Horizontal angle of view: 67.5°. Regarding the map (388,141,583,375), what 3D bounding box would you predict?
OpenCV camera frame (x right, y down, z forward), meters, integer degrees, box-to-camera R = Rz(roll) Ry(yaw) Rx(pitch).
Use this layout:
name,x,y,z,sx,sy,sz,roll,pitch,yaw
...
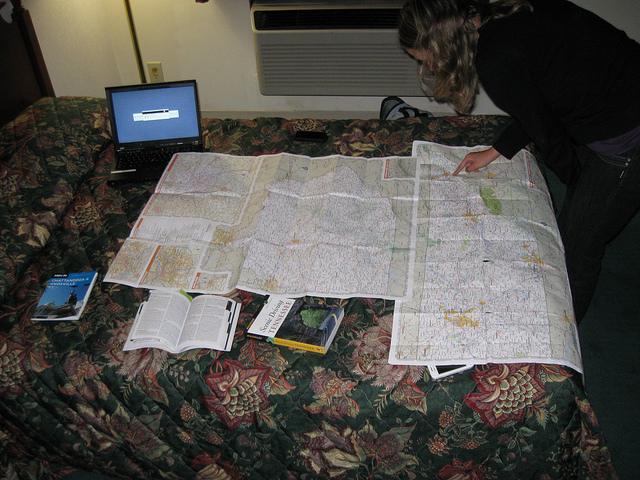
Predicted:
name,x,y,z,sx,sy,sz,roll,pitch,yaw
map,0.655,-0.011,2.086,0.697,0.090,1.175,-9,48,18
